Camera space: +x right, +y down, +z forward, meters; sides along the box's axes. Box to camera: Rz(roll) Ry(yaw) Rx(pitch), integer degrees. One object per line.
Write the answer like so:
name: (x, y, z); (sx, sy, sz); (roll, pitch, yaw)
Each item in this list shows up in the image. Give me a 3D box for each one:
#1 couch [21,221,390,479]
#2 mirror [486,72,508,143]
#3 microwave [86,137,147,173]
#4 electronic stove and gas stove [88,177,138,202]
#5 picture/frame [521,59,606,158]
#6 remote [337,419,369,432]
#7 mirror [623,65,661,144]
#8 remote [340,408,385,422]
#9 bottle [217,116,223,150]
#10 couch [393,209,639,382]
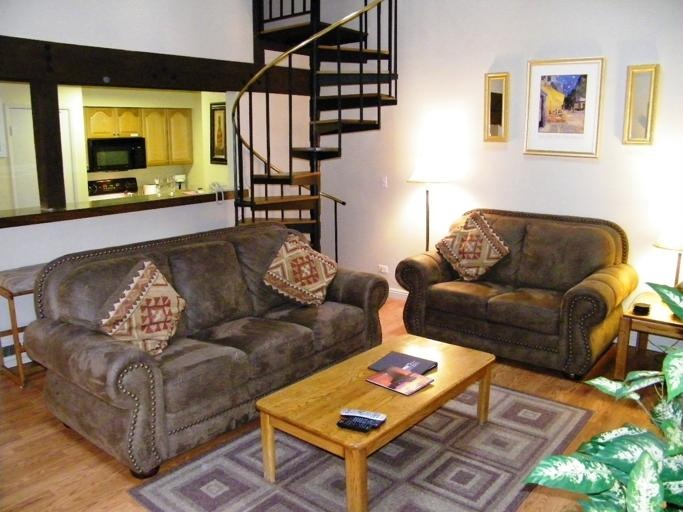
couch: (-0.881, 0.526, 4.282); (1.108, 1.207, 2.709); (13, 17, 35)
mirror: (1.590, -1.524, 5.454); (0.264, 0.671, 0.117); (4, 16, 20)
microwave: (-3.040, -1.366, 7.162); (0.508, 0.519, 0.860); (11, 16, 39)
electronic stove and gas stove: (-3.138, -0.921, 7.175); (0.227, 0.240, 0.789); (6, 15, 24)
picture/frame: (2.164, -1.429, 5.088); (0.958, 1.179, 0.056); (9, 13, 35)
remote: (0.052, 0.934, 2.928); (0.077, 0.016, 0.077); (5, 10, 14)
mirror: (2.670, -1.337, 4.729); (0.260, 0.683, 0.106); (5, 16, 23)
remote: (0.124, 0.893, 3.000); (0.152, 0.019, 0.091); (2, 10, 15)
bottle: (-1.708, -1.706, 7.361); (0.049, 0.444, 0.291); (-7, 16, -22)
couch: (1.638, 0.270, 5.071); (1.933, 1.088, 1.060); (9, 22, 41)
